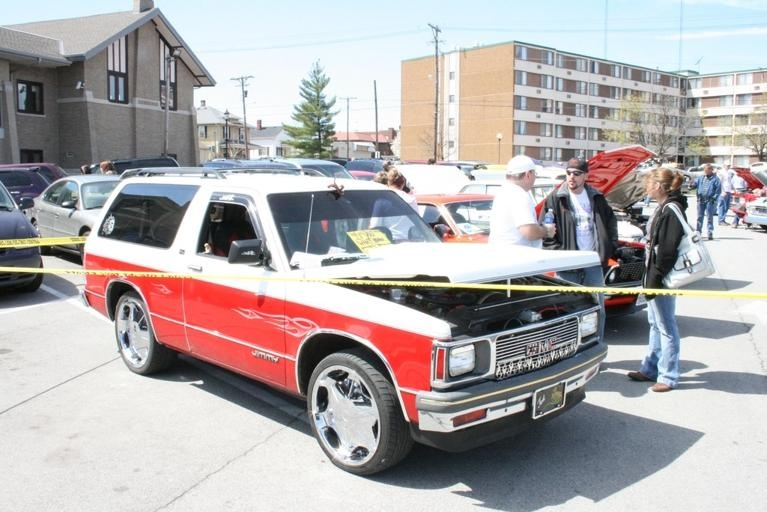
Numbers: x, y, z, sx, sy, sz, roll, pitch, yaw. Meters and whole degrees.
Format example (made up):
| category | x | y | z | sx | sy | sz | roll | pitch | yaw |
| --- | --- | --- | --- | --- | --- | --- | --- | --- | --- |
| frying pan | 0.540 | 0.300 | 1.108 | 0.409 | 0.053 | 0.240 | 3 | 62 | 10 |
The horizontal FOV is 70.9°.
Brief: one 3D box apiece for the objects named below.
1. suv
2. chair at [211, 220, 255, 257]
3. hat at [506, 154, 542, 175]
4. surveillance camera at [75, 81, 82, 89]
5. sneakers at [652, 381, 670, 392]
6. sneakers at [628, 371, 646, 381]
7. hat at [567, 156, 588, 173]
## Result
| category | x | y | z | sx | sy | sz | roll | pitch | yaw |
| --- | --- | --- | --- | --- | --- | --- | --- | --- | --- |
| suv | -0.721 | 0.355 | 6.081 | 5.491 | 2.043 | 2.618 | 7 | 10 | 37 |
| chair | -1.642 | -0.192 | 5.859 | 0.466 | 0.411 | 0.364 | 4 | -2 | 39 |
| hat | 1.629 | -1.076 | 6.339 | 0.386 | 0.196 | 0.277 | -14 | 17 | -33 |
| surveillance camera | -18.783 | -10.645 | 33.262 | 0.487 | 0.433 | 0.126 | 2 | 2 | 2 |
| sneakers | 3.145 | 1.481 | 6.092 | 0.201 | 0.086 | 0.175 | 7 | 14 | 27 |
| sneakers | 2.995 | 1.423 | 6.405 | 0.230 | 0.089 | 0.081 | 0 | 7 | 30 |
| hat | 2.483 | -1.232 | 7.035 | 0.261 | 0.146 | 0.243 | 8 | 8 | -18 |
